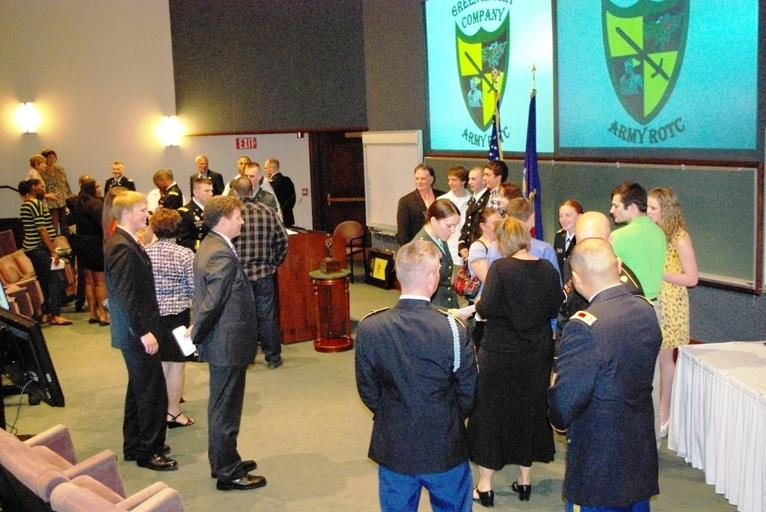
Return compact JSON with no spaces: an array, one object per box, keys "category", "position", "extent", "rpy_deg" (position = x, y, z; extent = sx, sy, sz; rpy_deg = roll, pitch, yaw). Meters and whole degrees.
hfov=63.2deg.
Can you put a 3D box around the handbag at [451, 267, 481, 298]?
[{"category":"handbag","position":[0.749,0.246,5.600],"extent":[0.153,0.303,0.293],"rpy_deg":[-1,-9,-38]}]

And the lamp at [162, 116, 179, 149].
[{"category":"lamp","position":[-4.201,-2.479,12.424],"extent":[0.403,0.591,0.109],"rpy_deg":[-6,8,-24]}]

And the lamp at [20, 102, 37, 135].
[{"category":"lamp","position":[-6.604,-2.604,11.811],"extent":[0.312,0.570,0.070],"rpy_deg":[-7,8,-29]}]

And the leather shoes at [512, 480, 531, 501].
[{"category":"leather shoes","position":[1.137,1.916,5.148],"extent":[0.164,0.146,0.188],"rpy_deg":[-2,7,12]}]

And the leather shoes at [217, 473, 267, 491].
[{"category":"leather shoes","position":[-1.193,1.939,5.307],"extent":[0.306,0.118,0.176],"rpy_deg":[-2,4,-10]}]

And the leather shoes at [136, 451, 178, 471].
[{"category":"leather shoes","position":[-2.003,1.846,5.640],"extent":[0.402,0.183,0.150],"rpy_deg":[-2,-3,8]}]

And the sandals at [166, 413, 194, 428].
[{"category":"sandals","position":[-2.049,1.669,6.372],"extent":[0.270,0.108,0.107],"rpy_deg":[-3,5,-33]}]

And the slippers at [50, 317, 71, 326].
[{"category":"slippers","position":[-4.827,0.990,9.422],"extent":[0.260,0.105,0.145],"rpy_deg":[-2,9,-9]}]

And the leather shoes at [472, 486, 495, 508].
[{"category":"leather shoes","position":[0.798,1.950,5.102],"extent":[0.104,0.105,0.244],"rpy_deg":[-1,5,-24]}]
